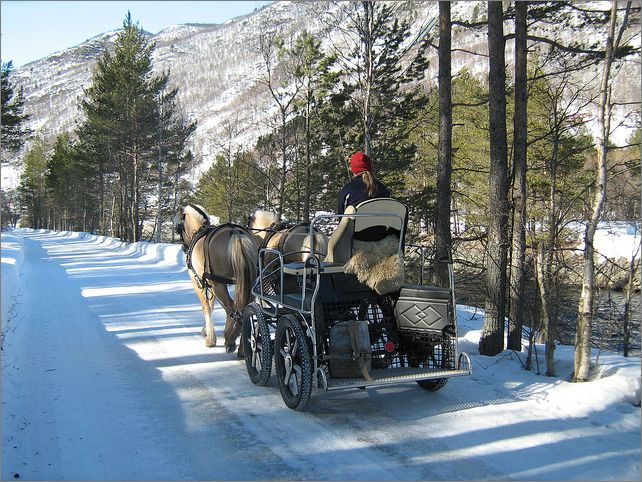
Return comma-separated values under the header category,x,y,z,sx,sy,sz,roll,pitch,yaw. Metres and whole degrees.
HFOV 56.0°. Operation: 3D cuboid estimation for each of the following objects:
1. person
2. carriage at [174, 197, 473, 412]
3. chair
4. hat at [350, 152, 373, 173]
category,x,y,z,sx,sy,sz,roll,pitch,yaw
person,0.706,-0.819,10.551,0.953,1.498,1.023,-4,5,-40
carriage,-0.054,1.067,11.115,2.334,3.013,5.239,2,-2,-39
chair,0.832,-0.181,10.042,1.040,1.441,1.173,-3,15,-30
hat,0.712,-1.396,10.469,0.290,0.365,0.381,-7,23,-5
